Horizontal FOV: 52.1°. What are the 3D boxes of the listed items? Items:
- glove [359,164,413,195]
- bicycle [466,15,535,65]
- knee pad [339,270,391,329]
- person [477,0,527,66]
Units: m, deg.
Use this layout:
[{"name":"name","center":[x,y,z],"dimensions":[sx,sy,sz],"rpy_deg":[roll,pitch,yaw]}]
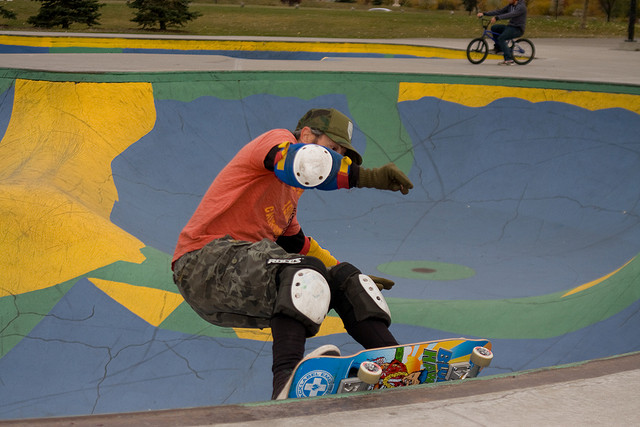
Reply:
[{"name":"glove","center":[0.517,-0.260,5.603],"dimensions":[0.499,0.244,0.205],"rpy_deg":[-7,-11,-25]},{"name":"bicycle","center":[4.449,-4.137,15.972],"dimensions":[1.823,0.961,0.863],"rpy_deg":[13,21,39]},{"name":"knee pad","center":[0.394,0.710,5.673],"dimensions":[0.512,0.185,0.361],"rpy_deg":[37,13,4]},{"name":"person","center":[4.307,-4.189,15.303],"dimensions":[0.846,1.501,1.018],"rpy_deg":[-4,26,-4]}]
